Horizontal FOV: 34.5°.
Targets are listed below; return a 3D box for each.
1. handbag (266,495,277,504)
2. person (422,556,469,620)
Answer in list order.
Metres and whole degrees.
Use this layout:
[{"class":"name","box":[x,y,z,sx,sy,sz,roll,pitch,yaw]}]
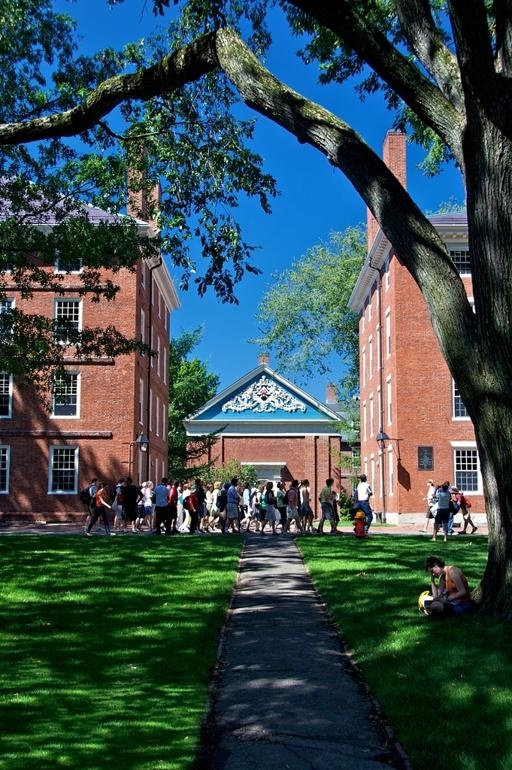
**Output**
[{"class":"handbag","box":[0.467,3.482,25.559,0.261,0.439,0.474,-1,3,13]},{"class":"person","box":[2.207,2.357,9.790,0.575,0.715,0.695,-4,-12,-7]}]
